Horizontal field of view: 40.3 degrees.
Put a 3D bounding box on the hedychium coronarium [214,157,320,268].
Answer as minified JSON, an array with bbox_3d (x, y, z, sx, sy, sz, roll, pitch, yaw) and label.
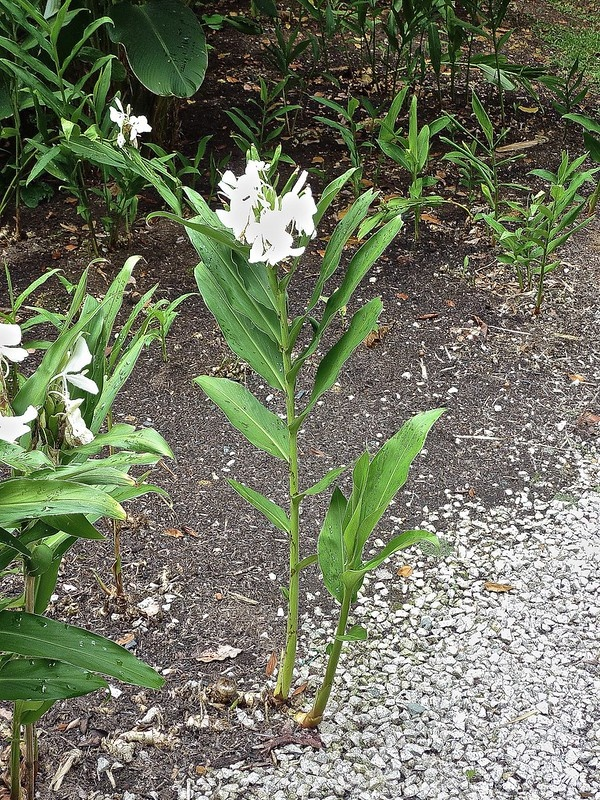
[{"bbox_3d":[-0.055,-0.278,1.278,0.146,0.198,0.191,5,34,-4],"label":"hedychium coronarium"}]

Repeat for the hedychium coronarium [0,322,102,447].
[{"bbox_3d":[-0.321,-0.011,1.088,0.181,0.068,0.165,4,30,-29],"label":"hedychium coronarium"}]
